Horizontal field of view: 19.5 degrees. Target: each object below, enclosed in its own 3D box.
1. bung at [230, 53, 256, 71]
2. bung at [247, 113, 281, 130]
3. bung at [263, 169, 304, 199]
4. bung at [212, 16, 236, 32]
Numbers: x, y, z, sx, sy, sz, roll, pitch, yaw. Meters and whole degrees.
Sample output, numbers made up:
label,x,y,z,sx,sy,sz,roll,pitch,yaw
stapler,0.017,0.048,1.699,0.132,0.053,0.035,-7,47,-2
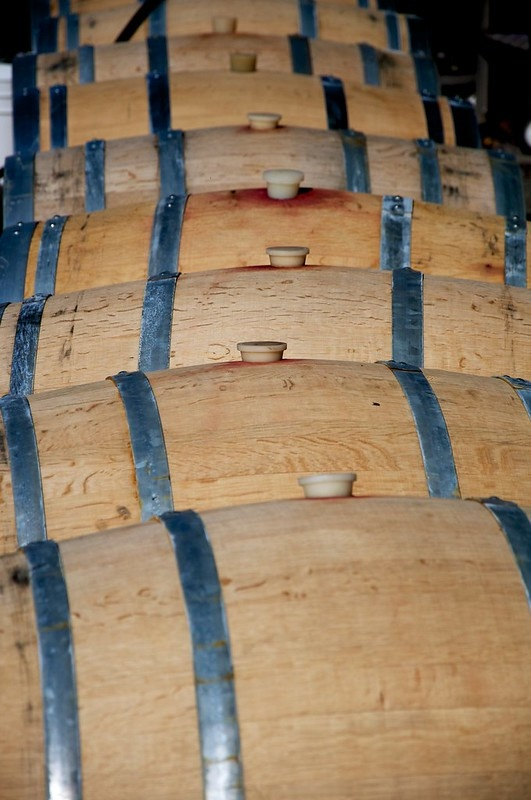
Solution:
label,x,y,z,sx,sy,sz,roll,pitch,yaw
bung,-0.117,-1.691,7.725,0.112,0.080,0.108,-5,24,-12
bung,-0.013,-1.273,7.054,0.105,0.037,0.098,0,23,-1
bung,0.065,-0.877,6.260,0.135,0.087,0.131,0,20,3
bung,-0.237,-2.037,8.384,0.098,0.071,0.099,12,22,29
